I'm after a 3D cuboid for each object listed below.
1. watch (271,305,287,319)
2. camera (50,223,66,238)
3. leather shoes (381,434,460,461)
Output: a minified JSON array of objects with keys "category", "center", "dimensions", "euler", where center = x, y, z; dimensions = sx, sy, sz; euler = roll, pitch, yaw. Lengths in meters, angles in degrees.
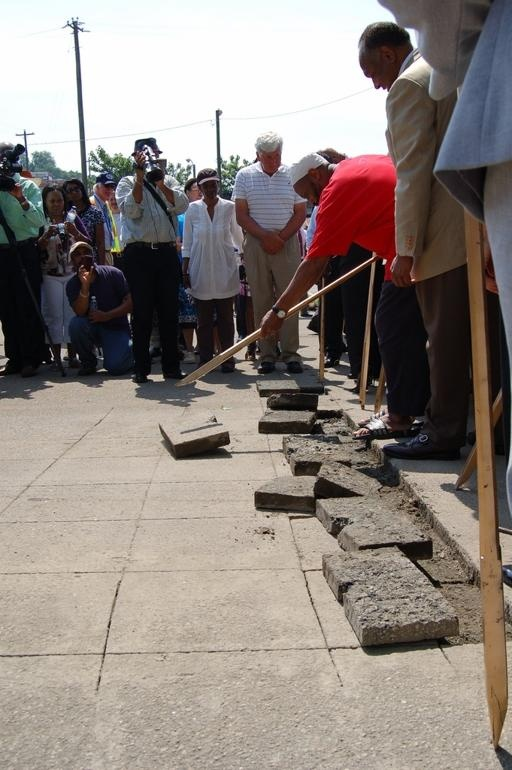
[{"category":"watch","center":[0.151,-0.441,3.852],"dimensions":[0.054,0.088,0.083],"euler":[-49,26,-4]},{"category":"camera","center":[-2.310,-1.811,7.680],"dimensions":[0.182,0.177,0.101],"euler":[-18,33,-30]},{"category":"leather shoes","center":[0.952,0.376,3.708],"dimensions":[0.429,0.170,0.156],"euler":[4,-7,16]}]
